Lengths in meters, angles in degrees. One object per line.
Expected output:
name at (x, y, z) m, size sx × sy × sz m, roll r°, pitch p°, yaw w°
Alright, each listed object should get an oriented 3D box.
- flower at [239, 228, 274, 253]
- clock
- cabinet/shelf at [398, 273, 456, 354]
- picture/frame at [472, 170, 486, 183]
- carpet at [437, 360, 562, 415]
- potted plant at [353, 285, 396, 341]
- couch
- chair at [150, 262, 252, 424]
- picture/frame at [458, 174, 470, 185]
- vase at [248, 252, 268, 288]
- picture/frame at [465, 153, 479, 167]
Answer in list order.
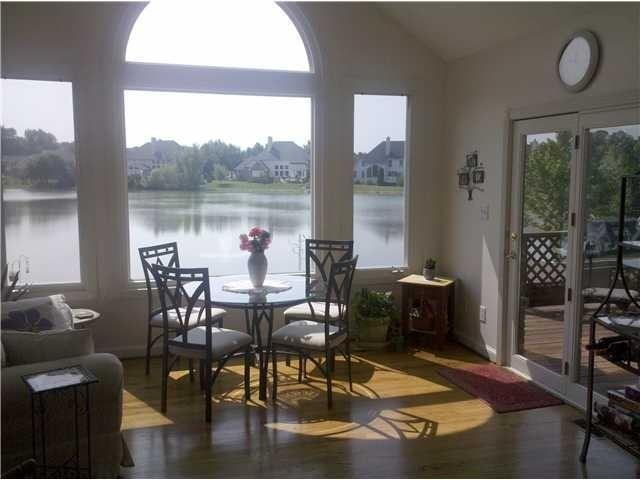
flower at (-0.553, 0.006, 4.442) m, size 0.232 × 0.246 × 0.231 m, roll 6°, pitch -12°, yaw 40°
clock at (1.977, -1.361, 3.877) m, size 0.073 × 0.444 × 0.353 m, roll -4°, pitch 12°, yaw -18°
cabinet/shelf at (1.086, 0.734, 5.281) m, size 0.598 × 0.834 × 0.663 m, roll 0°, pitch 6°, yaw -6°
picture/frame at (1.564, -0.632, 5.011) m, size 0.100 × 0.154 × 0.141 m, roll -3°, pitch 4°, yaw -27°
carpet at (1.522, 1.258, 4.383) m, size 0.658 × 0.032 × 0.901 m, roll -5°, pitch 13°, yaw -20°
potted plant at (0.546, 0.734, 5.386) m, size 0.530 × 0.649 × 0.471 m, roll 1°, pitch -4°, yaw -4°
couch at (-1.677, 0.934, 3.485) m, size 0.813 × 0.839 × 0.840 m, roll 1°, pitch -1°, yaw -26°
chair at (-1.011, 0.738, 4.305) m, size 0.749 × 1.242 × 1.206 m, roll -5°, pitch 12°, yaw -22°
picture/frame at (1.483, -0.617, 5.236) m, size 0.090 × 0.141 × 0.132 m, roll 1°, pitch -2°, yaw -3°
vase at (-0.530, 0.260, 4.554) m, size 0.231 × 0.443 × 0.248 m, roll 0°, pitch 4°, yaw -7°
picture/frame at (1.528, -0.804, 5.081) m, size 0.112 × 0.167 × 0.111 m, roll 2°, pitch 4°, yaw 20°
